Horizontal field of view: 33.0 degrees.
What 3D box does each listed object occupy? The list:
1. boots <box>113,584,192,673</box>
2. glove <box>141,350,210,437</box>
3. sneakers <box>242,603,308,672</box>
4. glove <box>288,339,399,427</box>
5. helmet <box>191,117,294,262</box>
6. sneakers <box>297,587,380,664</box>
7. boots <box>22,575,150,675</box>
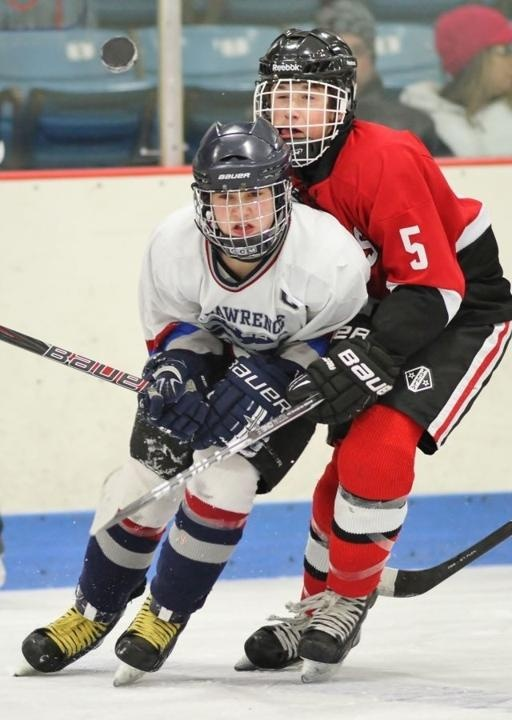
[{"bbox_3d":[-0.178,0.492,1.627,0.076,0.102,0.220,36,17,3],"label":"boots"},{"bbox_3d":[-0.153,0.062,1.622,0.139,0.149,0.082,-11,-4,26],"label":"glove"},{"bbox_3d":[0.050,0.559,1.742,0.076,0.083,0.225,13,-3,22],"label":"sneakers"},{"bbox_3d":[0.153,0.035,1.552,0.189,0.153,0.072,-2,-8,5],"label":"glove"},{"bbox_3d":[0.000,-0.308,1.627,0.222,0.258,0.239,-2,49,10],"label":"helmet"},{"bbox_3d":[0.144,0.485,1.578,0.106,0.113,0.143,-3,-8,15],"label":"sneakers"},{"bbox_3d":[-0.298,0.526,1.703,0.092,0.124,0.308,43,34,14],"label":"boots"}]
